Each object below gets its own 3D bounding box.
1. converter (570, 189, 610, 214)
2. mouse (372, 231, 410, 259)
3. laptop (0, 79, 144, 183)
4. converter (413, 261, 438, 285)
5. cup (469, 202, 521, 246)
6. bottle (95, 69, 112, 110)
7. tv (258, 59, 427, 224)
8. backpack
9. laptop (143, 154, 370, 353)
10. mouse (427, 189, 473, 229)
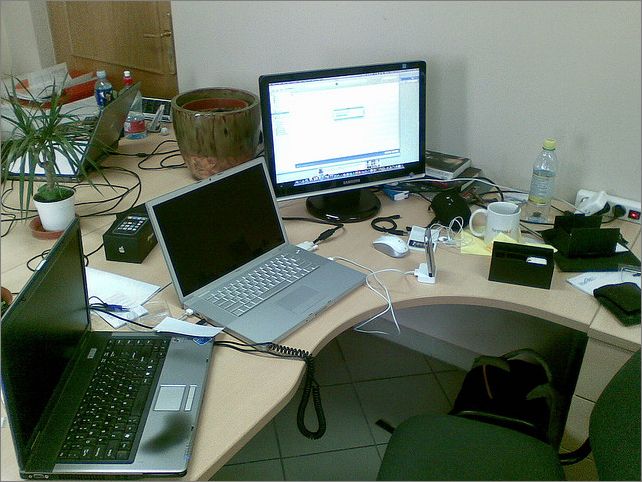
[{"bbox_3d":[0.992,-0.141,1.918,0.045,0.066,0.121,12,-2,-19],"label":"converter"},{"bbox_3d":[0.239,0.012,1.744,0.111,0.039,0.065,25,42,37],"label":"mouse"},{"bbox_3d":[-0.927,-0.372,2.184,0.481,0.304,0.478,12,48,7],"label":"laptop"},{"bbox_3d":[0.328,0.098,1.644,0.053,0.017,0.072,-3,34,11],"label":"converter"},{"bbox_3d":[0.587,-0.052,1.781,0.159,0.119,0.098,7,21,17],"label":"cup"},{"bbox_3d":[-1.108,-0.765,2.646,0.089,0.214,0.085,9,44,-8],"label":"bottle"},{"bbox_3d":[0.096,-0.364,1.925,0.624,0.527,0.298,-10,24,-15],"label":"tv"},{"bbox_3d":[0.654,0.499,1.911,0.233,0.258,0.186,15,42,5],"label":"backpack"},{"bbox_3d":[-0.182,0.005,1.532,0.554,0.285,0.543,11,31,13],"label":"laptop"},{"bbox_3d":[0.472,-0.110,1.923,0.140,0.073,0.139,34,60,1],"label":"mouse"}]
